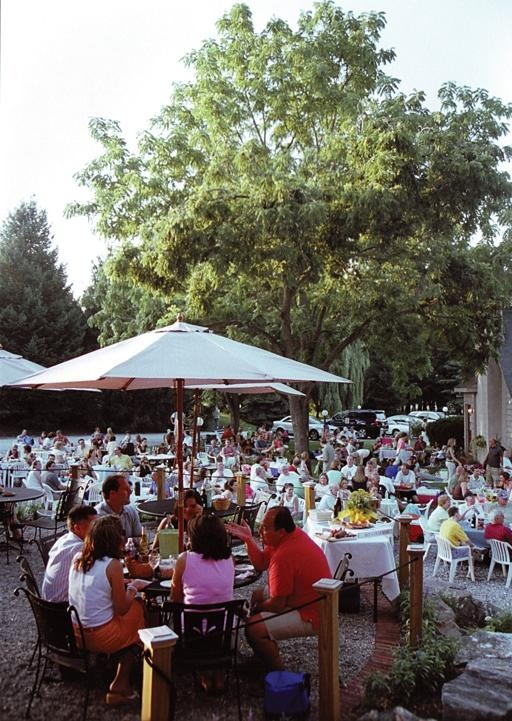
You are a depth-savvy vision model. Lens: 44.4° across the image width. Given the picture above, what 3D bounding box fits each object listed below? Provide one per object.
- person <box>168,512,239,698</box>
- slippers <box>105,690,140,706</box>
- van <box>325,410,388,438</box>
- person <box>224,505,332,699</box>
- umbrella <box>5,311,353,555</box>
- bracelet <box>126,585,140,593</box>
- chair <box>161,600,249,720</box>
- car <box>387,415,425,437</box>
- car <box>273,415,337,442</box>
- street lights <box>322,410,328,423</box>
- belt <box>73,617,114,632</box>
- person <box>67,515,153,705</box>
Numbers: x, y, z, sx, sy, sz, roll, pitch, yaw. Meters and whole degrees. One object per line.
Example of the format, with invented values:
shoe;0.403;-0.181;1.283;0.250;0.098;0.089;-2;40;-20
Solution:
person;-0.385;1.677;4.380;0.454;1.208;0.376;2;1;-39
slippers;-0.905;2.272;4.262;0.242;0.087;0.090;-1;-11;-10
van;5.356;3.299;33.219;2.810;1.224;1.363;5;-1;10
person;0.163;1.831;4.929;0.710;1.286;0.790;4;-4;-33
umbrella;-0.701;0.103;5.780;2.658;1.877;2.527;-1;-4;-1
bracelet;-0.879;1.621;4.477;0.076;0.080;0.052;18;27;15
chair;-0.352;1.803;4.089;0.508;0.521;0.253;1;-2;-16
car;8.040;3.504;33.716;3.005;1.099;1.409;-1;5;9
car;2.443;3.589;33.894;3.419;1.260;1.551;-3;-4;21
street lights;3.240;2.584;29.492;0.361;0.363;0.987;-12;-23;0
belt;-1.068;1.737;4.147;0.136;0.037;0.144;-1;-4;21
person;-1.016;1.677;4.271;0.560;1.284;0.394;1;-2;-31
